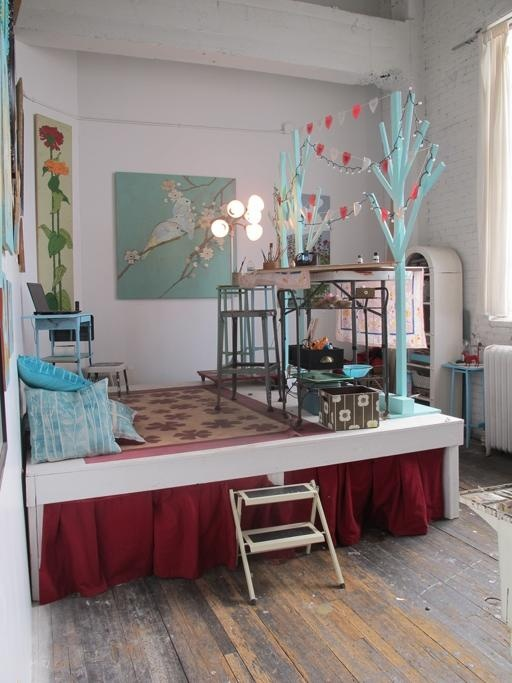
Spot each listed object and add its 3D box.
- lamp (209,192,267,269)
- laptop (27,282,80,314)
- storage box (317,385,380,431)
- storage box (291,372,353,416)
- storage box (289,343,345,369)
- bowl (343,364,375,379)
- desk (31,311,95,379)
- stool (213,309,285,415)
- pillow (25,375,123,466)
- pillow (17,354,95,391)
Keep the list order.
[{"bbox_3d":[-0.235,-1.317,5.605,0.464,0.602,1.314,-1,3,-6],"label":"lamp"},{"bbox_3d":[-1.570,-0.314,4.104,0.380,0.286,0.448,-1,3,-4],"label":"laptop"},{"bbox_3d":[0.554,0.396,3.207,0.259,0.185,0.272,-2,5,-6],"label":"storage box"},{"bbox_3d":[0.476,0.310,3.693,0.293,0.255,0.334,0,3,-19],"label":"storage box"},{"bbox_3d":[0.389,0.080,3.588,0.165,0.114,0.318,0,3,-14],"label":"storage box"},{"bbox_3d":[0.672,0.194,3.631,0.163,0.103,0.303,-1,3,9],"label":"bowl"},{"bbox_3d":[-1.458,0.010,4.037,0.276,0.418,0.561,0,6,-1],"label":"desk"},{"bbox_3d":[-0.054,0.119,4.049,0.537,0.739,0.570,-7,7,-39],"label":"stool"},{"bbox_3d":[-0.900,0.390,2.658,0.423,0.359,0.147,-2,3,-25],"label":"pillow"},{"bbox_3d":[-1.052,0.175,2.752,0.252,0.114,0.221,10,8,-23],"label":"pillow"}]
